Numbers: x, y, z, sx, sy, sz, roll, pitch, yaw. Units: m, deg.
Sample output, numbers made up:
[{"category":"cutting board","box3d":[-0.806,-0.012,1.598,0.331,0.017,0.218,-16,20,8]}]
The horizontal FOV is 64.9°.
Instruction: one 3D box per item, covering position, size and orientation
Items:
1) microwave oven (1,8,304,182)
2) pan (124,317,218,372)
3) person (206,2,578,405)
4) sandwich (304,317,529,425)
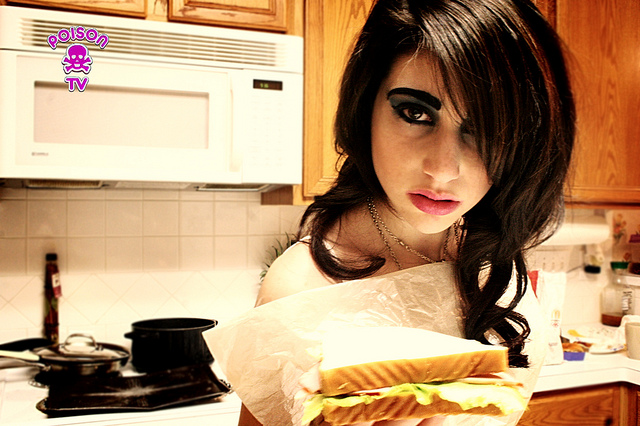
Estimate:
[{"category":"microwave oven","box3d":[-0.605,-0.616,1.726,1.100,0.453,0.548,0,-6,-16]},{"category":"pan","box3d":[-0.585,0.516,1.973,0.313,0.133,0.366,-4,-10,12]},{"category":"person","box3d":[0.201,-0.035,1.193,0.893,0.923,0.412,-1,2,-12]},{"category":"sandwich","box3d":[0.182,0.329,1.051,0.335,0.094,0.265,3,0,-1]}]
